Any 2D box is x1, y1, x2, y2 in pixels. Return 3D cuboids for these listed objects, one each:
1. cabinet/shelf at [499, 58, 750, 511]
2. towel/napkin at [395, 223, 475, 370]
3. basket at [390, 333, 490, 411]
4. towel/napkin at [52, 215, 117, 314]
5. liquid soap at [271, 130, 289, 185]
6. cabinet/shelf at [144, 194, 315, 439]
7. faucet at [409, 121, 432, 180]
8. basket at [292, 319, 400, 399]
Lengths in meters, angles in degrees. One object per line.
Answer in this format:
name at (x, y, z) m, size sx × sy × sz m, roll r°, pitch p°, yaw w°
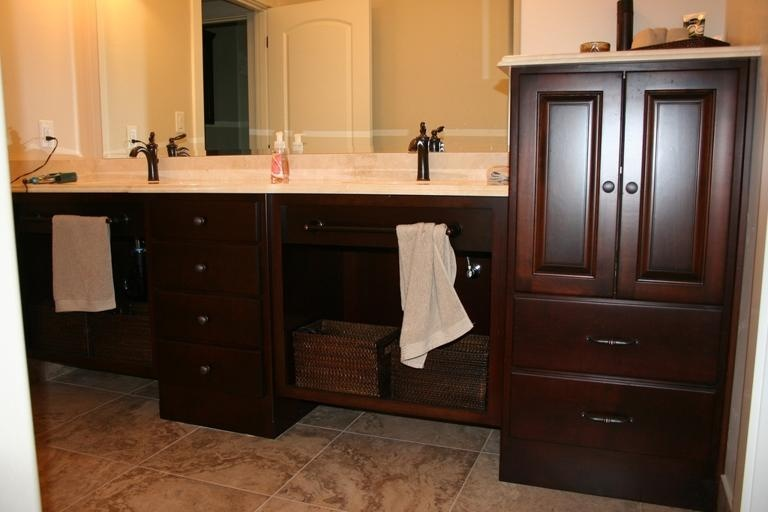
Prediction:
cabinet/shelf at (0.921, 0.113, 2.282) m, size 0.852 × 1.716 × 0.278 m, roll 4°, pitch 13°, yaw 14°
towel/napkin at (0.205, 0.166, 2.448) m, size 0.306 × 0.610 × 0.156 m, roll -1°, pitch 13°, yaw -6°
basket at (0.269, 0.432, 2.656) m, size 0.481 × 0.287 × 0.274 m, roll 1°, pitch 3°, yaw 16°
towel/napkin at (-1.535, 0.041, 2.919) m, size 0.322 × 0.482 × 0.163 m, roll -1°, pitch 13°, yaw -7°
liquid soap at (-0.565, -0.541, 3.118) m, size 0.094 × 0.267 × 0.284 m, roll -2°, pitch 13°, yaw -8°
cabinet/shelf at (-0.824, 0.265, 2.786) m, size 0.735 × 1.137 × 0.209 m, roll 5°, pitch 14°, yaw 20°
faucet at (0.189, -0.535, 2.939) m, size 0.104 × 0.293 × 0.179 m, roll -2°, pitch 13°, yaw -11°
basket at (-0.177, 0.480, 2.824) m, size 0.478 × 0.272 × 0.392 m, roll 3°, pitch 13°, yaw 13°
